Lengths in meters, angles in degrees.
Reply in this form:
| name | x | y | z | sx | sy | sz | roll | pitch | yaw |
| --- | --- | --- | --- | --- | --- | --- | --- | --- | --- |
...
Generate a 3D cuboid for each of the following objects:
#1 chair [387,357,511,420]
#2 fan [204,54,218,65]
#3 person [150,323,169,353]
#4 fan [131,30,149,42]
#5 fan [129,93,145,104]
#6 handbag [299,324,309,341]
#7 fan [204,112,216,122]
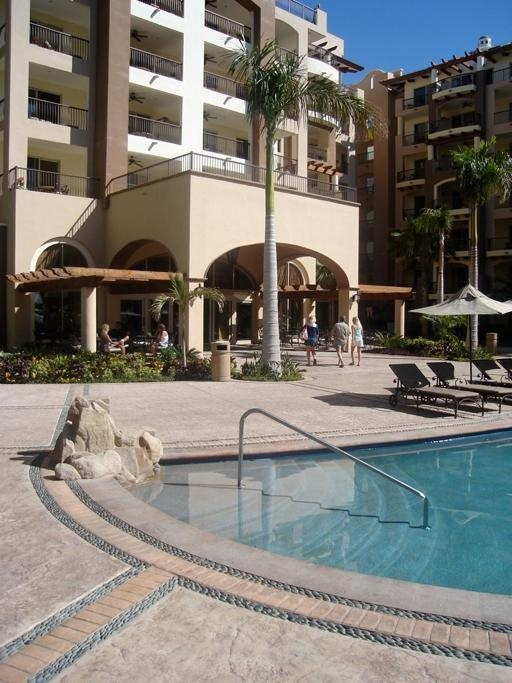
| name | x | y | z | sx | sy | sz | roll | pitch | yaw |
| --- | --- | --- | --- | --- | --- | --- | --- | --- | --- |
| chair | 3.678 | 0.984 | 11.895 | 1.474 | 0.713 | 1.422 | 0 | -1 | -36 |
| fan | -2.144 | -13.142 | 27.551 | 0.576 | 0.264 | 1.166 | 5 | 3 | -4 |
| person | -3.050 | -0.091 | 18.577 | 0.454 | 0.920 | 2.271 | 4 | 3 | -11 |
| fan | -4.972 | -12.964 | 24.991 | 0.679 | 0.194 | 1.099 | 5 | 3 | -14 |
| fan | -5.100 | -10.339 | 24.989 | 0.379 | 0.180 | 0.426 | -15 | 12 | -40 |
| handbag | 1.647 | -0.285 | 20.278 | 0.181 | 0.529 | 0.364 | 2 | -1 | 2 |
| fan | -2.244 | -10.496 | 27.572 | 0.455 | 0.178 | 0.453 | -14 | 14 | -41 |
